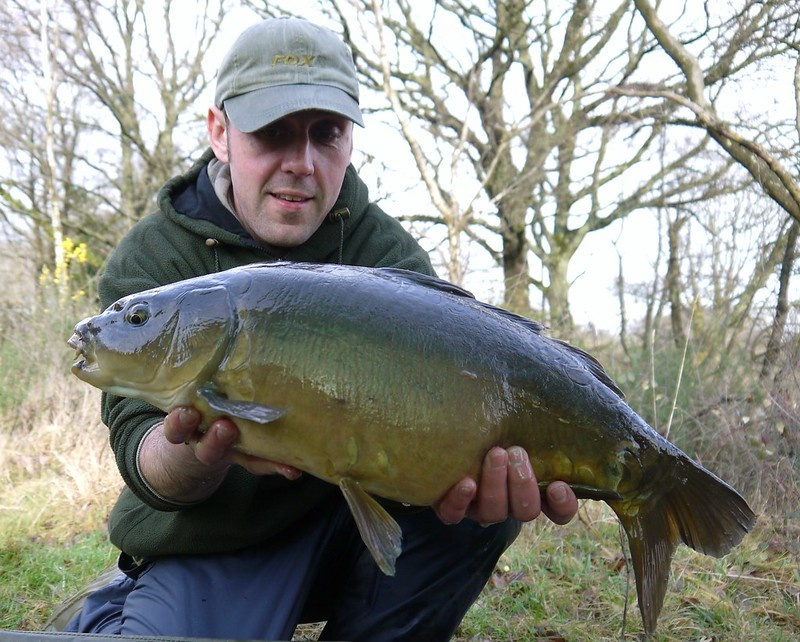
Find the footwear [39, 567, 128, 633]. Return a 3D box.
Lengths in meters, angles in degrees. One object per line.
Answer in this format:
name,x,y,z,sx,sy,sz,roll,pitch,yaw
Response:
footwear,-1.593,1.403,4.206,0.143,0.359,0.280,46,2,-37

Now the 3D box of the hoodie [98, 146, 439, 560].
hoodie,-0.907,0.059,4.638,1.401,0.952,2.120,-27,21,0
